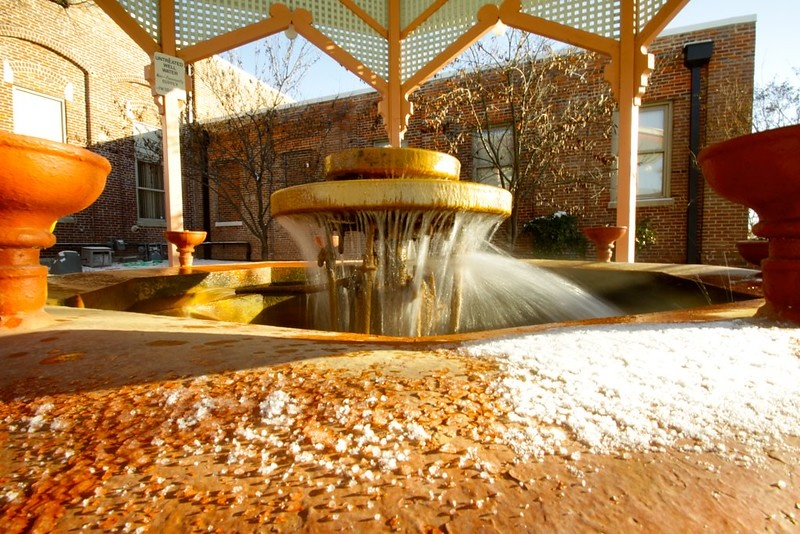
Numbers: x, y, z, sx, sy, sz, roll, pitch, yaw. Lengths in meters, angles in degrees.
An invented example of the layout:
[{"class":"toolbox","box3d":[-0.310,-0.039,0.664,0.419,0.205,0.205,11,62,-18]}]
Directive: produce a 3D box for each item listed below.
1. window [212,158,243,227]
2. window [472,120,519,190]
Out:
[{"class":"window","box3d":[-5.142,-2.327,13.621,0.844,1.716,3.381,-3,5,-22]},{"class":"window","box3d":[2.152,-2.406,10.760,0.923,1.510,0.125,-5,-19,-5]}]
